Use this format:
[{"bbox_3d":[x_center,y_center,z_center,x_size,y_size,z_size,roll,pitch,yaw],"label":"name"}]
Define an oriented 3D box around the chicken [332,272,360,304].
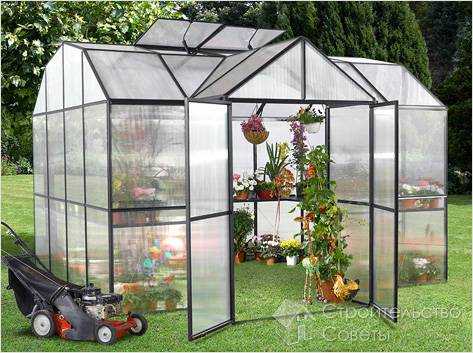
[{"bbox_3d":[1.781,1.825,9.297,0.434,0.367,0.494,0,-1,-5],"label":"chicken"}]
